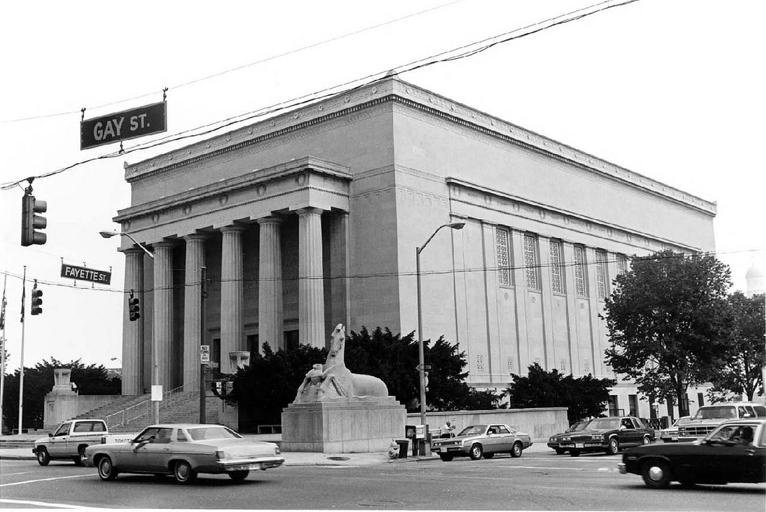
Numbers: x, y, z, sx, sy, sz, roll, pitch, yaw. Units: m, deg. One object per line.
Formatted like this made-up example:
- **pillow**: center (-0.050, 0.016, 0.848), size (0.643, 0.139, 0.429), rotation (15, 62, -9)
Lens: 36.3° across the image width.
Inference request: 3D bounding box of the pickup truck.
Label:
- **pickup truck**: center (-16.000, 9.815, 62.079), size (5.088, 1.891, 2.624), rotation (-6, -13, 30)

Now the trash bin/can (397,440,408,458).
- **trash bin/can**: center (1.082, 10.375, 62.778), size (0.632, 1.048, 0.625), rotation (1, -15, -8)

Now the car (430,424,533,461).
- **car**: center (5.271, 9.985, 62.782), size (5.383, 2.103, 1.321), rotation (6, -16, -23)
